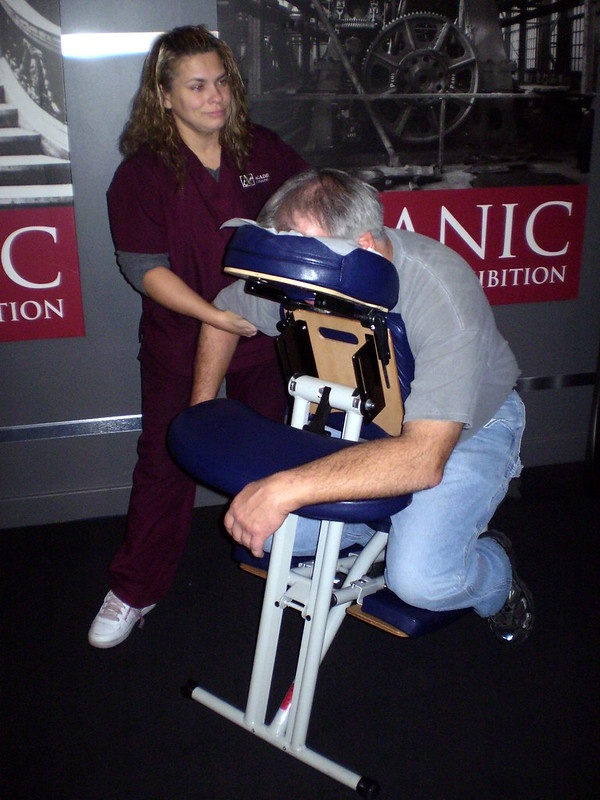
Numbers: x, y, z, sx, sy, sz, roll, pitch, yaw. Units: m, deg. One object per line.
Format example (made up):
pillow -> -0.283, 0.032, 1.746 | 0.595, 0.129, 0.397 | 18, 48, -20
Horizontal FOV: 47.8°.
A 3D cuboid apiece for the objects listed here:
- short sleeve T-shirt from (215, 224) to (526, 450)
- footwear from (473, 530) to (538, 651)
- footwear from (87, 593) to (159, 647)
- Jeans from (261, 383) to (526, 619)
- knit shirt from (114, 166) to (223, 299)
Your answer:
short sleeve T-shirt -> 0.166, -0.111, 1.189 | 0.565, 0.433, 0.470 | -2, 21, -3
footwear -> 0.469, 0.441, 1.661 | 0.158, 0.112, 0.279 | 9, 23, -11
footwear -> -0.446, 0.548, 1.716 | 0.064, 0.072, 0.181 | 25, 19, 10
Jeans -> 0.277, 0.234, 1.648 | 0.538, 0.569, 0.413 | 27, -12, -38
knit shirt -> -0.305, -0.399, 1.568 | 0.287, 0.274, 0.148 | -20, 32, -20
